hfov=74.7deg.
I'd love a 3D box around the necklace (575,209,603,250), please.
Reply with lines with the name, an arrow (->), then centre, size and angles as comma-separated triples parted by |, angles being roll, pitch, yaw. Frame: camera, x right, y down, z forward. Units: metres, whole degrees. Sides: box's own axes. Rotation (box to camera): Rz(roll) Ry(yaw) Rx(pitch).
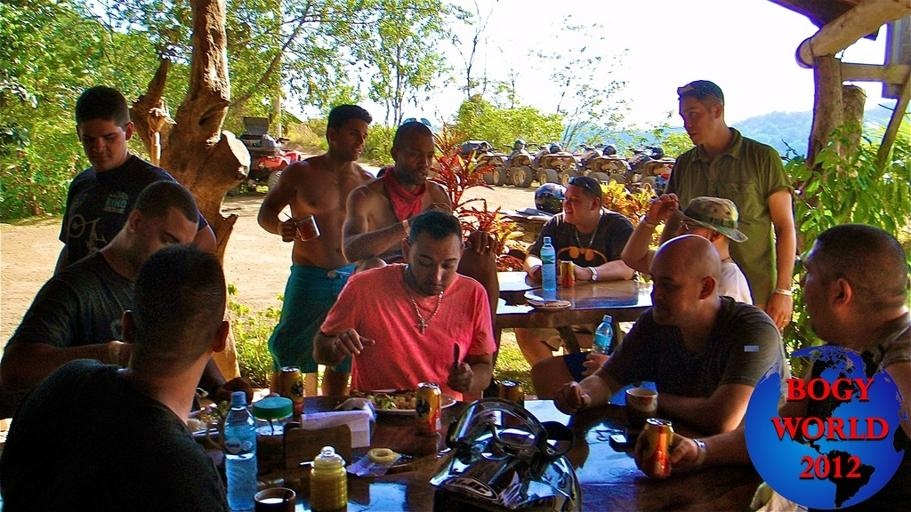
necklace -> 1.447, -0.281, 6.435 | 0.329, 0.391, 0.103 | 15, 27, 14

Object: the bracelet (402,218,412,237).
bracelet -> -0.416, -0.236, 5.030 | 0.072, 0.159, 0.134 | -3, 1, -4

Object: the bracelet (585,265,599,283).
bracelet -> 1.382, 0.206, 6.248 | 0.119, 0.148, 0.159 | -3, 17, -13

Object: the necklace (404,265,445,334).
necklace -> -0.244, 0.304, 4.125 | 0.262, 0.459, 0.092 | 3, 14, 4

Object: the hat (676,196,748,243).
hat -> 2.146, -0.335, 4.950 | 0.482, 0.158, 0.412 | 19, 15, 22

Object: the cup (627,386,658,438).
cup -> 1.062, 0.895, 3.462 | 0.248, 0.233, 0.232 | 0, -3, 0

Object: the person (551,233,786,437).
person -> 1.356, 0.448, 3.904 | 1.965, 1.064, 1.170 | 6, 4, -9

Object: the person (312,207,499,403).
person -> -0.309, 0.359, 4.090 | 1.245, 1.349, 0.364 | 2, 2, -12
